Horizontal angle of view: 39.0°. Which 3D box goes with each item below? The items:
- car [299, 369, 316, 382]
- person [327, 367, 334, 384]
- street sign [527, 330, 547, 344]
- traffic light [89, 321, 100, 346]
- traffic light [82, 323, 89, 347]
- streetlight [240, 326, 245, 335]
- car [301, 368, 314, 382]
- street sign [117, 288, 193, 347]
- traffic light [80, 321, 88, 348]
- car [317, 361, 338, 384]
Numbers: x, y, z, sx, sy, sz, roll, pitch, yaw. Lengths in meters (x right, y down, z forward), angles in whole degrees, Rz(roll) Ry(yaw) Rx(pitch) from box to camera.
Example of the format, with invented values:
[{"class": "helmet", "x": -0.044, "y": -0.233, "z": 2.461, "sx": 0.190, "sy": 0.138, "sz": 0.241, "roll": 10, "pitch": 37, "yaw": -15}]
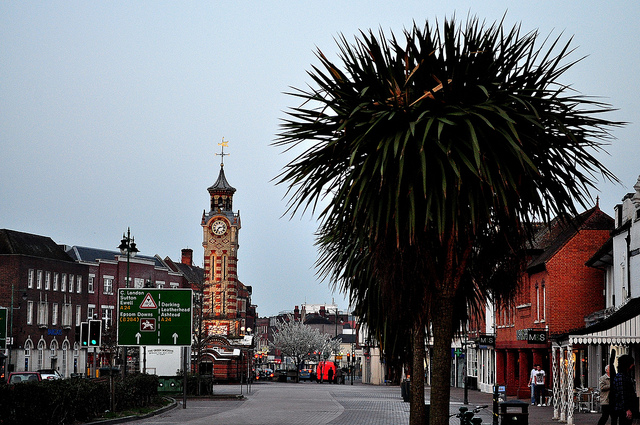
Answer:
[{"class": "car", "x": -1.411, "y": 17.437, "z": 96.433, "sx": 1.407, "sy": 1.442, "sz": 2.809, "roll": 6, "pitch": -19, "yaw": -22}, {"class": "person", "x": 0.963, "y": 16.448, "z": 91.079, "sx": 0.616, "sy": 1.502, "sz": 1.012, "roll": -2, "pitch": -17, "yaw": 3}, {"class": "street sign", "x": 11.214, "y": 6.455, "z": 46.926, "sx": 0.435, "sy": 0.777, "sz": 1.689, "roll": -16, "pitch": -23, "yaw": 41}, {"class": "traffic light", "x": -9.458, "y": 5.034, "z": 37.741, "sx": 0.414, "sy": 0.957, "sz": 0.851, "roll": 3, "pitch": -17, "yaw": -14}, {"class": "traffic light", "x": -9.853, "y": 5.095, "z": 37.768, "sx": 0.272, "sy": 0.949, "sz": 0.399, "roll": 3, "pitch": -17, "yaw": -15}, {"class": "streetlight", "x": -13.215, "y": 19.719, "z": 152.792, "sx": 0.501, "sy": 0.899, "sz": 0.526, "roll": 2, "pitch": 3, "yaw": 28}, {"class": "car", "x": -1.495, "y": 17.429, "z": 96.345, "sx": 1.196, "sy": 1.409, "sz": 2.342, "roll": 0, "pitch": -17, "yaw": -3}, {"class": "street sign", "x": -8.014, "y": 5.079, "z": 43.246, "sx": 2.541, "sy": 2.180, "sz": 0.104, "roll": 5, "pitch": -12, "yaw": -35}, {"class": "traffic light", "x": -9.888, "y": 5.051, "z": 37.736, "sx": 0.298, "sy": 1.016, "sz": 0.897, "roll": 3, "pitch": -17, "yaw": -13}, {"class": "car", "x": 0.773, "y": 16.269, "z": 91.882, "sx": 1.927, "sy": 2.144, "sz": 1.972, "roll": 5, "pitch": -10, "yaw": -22}]
